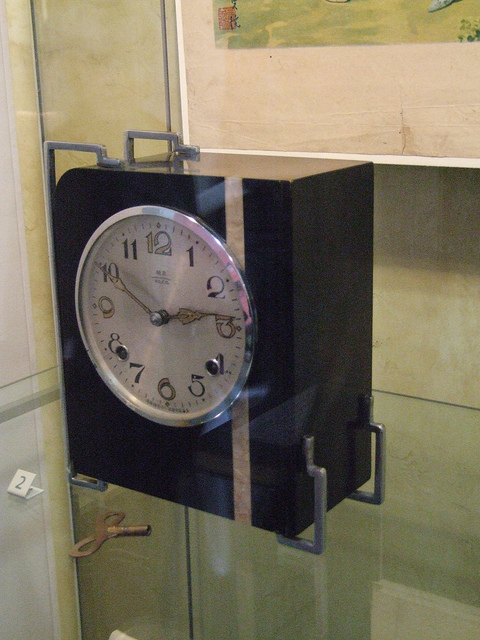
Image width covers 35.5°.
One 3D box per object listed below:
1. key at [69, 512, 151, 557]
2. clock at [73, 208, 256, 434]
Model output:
[{"bbox_3d":[-0.117,0.202,0.715,0.073,0.012,0.074,-7,18,27],"label":"key"},{"bbox_3d":[-0.074,0.002,0.693,0.205,0.212,0.026,16,23,35],"label":"clock"}]
